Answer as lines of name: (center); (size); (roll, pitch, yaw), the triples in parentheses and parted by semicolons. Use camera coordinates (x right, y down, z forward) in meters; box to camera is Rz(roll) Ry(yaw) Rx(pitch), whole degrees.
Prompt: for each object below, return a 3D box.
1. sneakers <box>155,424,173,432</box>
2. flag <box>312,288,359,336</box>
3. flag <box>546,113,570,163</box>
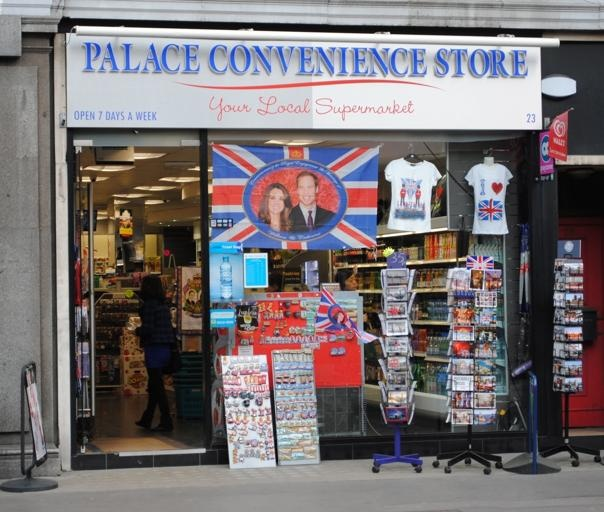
sneakers: (-1.749, 2.164, 13.316); (0.248, 0.115, 0.091); (2, -2, 19)
flag: (0.370, 0.662, 12.242); (0.458, 0.543, 0.104); (2, -5, -5)
flag: (2.952, -1.360, 12.081); (0.208, 0.549, 0.167); (1, 10, 9)
